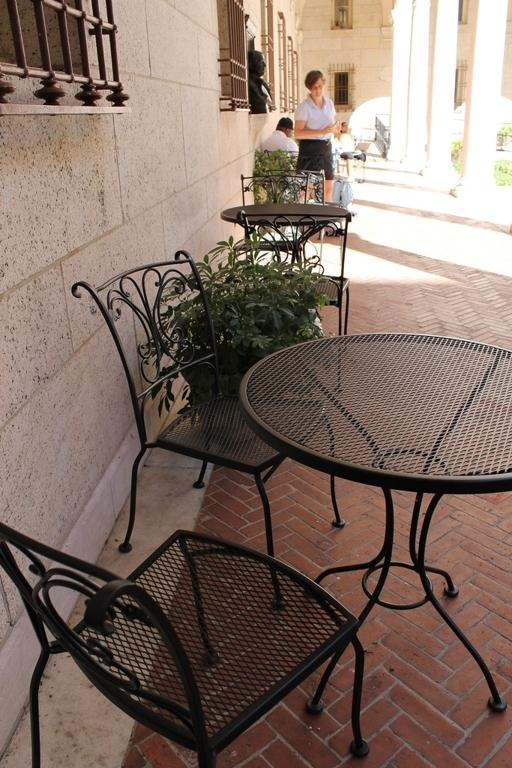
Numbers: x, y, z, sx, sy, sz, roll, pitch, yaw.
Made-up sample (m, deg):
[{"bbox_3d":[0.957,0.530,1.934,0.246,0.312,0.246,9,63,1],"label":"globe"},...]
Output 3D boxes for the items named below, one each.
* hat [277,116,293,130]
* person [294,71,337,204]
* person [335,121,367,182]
[{"bbox_3d":[0.468,-4.155,9.253,0.255,0.167,0.370,8,31,-1],"label":"hat"},{"bbox_3d":[0.877,-3.149,7.819,0.584,1.995,0.624,-12,28,-19],"label":"person"},{"bbox_3d":[2.390,-6.017,14.858,0.637,1.555,0.850,-4,3,-33],"label":"person"}]
